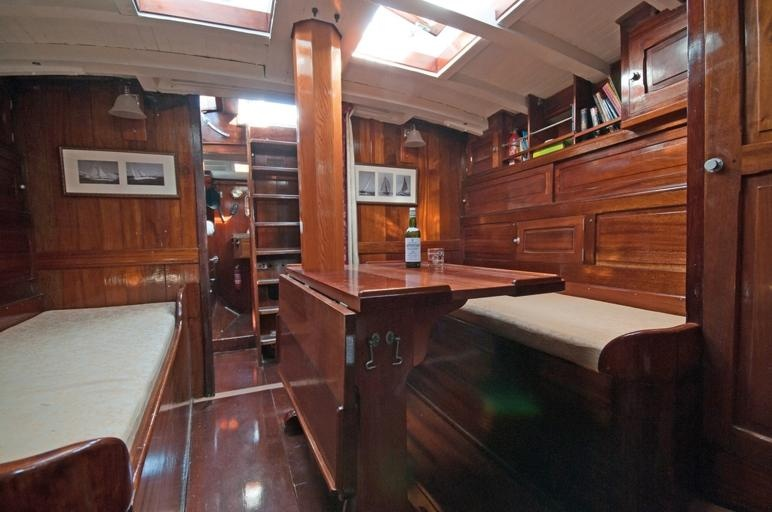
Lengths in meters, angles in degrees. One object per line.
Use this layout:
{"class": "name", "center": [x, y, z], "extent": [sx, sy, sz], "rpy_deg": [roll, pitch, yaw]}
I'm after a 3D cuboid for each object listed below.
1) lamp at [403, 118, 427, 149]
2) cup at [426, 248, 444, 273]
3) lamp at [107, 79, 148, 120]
{"class": "lamp", "center": [0.340, -1.579, 6.406], "extent": [0.354, 0.400, 0.404], "rpy_deg": [-2, -9, 2]}
{"class": "cup", "center": [0.397, 0.042, 3.969], "extent": [0.162, 0.182, 0.161], "rpy_deg": [-1, 4, 0]}
{"class": "lamp", "center": [-2.406, -1.447, 4.793], "extent": [0.397, 0.378, 0.315], "rpy_deg": [1, -7, -13]}
